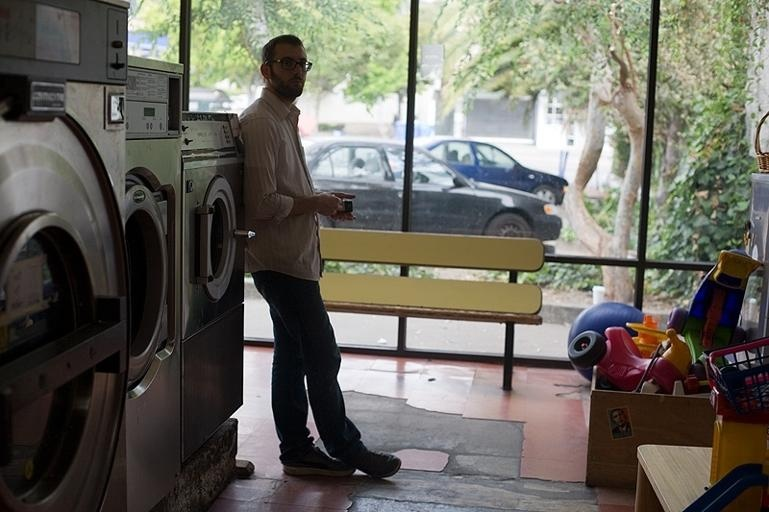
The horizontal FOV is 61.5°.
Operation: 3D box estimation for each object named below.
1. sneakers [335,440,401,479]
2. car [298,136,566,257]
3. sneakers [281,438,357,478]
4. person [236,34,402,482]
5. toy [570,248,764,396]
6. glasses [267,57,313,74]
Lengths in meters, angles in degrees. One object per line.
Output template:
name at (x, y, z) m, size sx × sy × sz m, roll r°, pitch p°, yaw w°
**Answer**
sneakers at (-0.068, 1.012, 3.273) m, size 0.384 × 0.174 × 0.143 m, roll 12°, pitch 16°, yaw -5°
car at (0.302, -0.465, 5.173) m, size 2.118 × 0.775 × 0.842 m, roll 0°, pitch 5°, yaw -2°
sneakers at (-0.339, 1.027, 3.334) m, size 0.416 × 0.193 × 0.155 m, roll 2°, pitch -1°, yaw -3°
person at (-0.377, 0.024, 3.163) m, size 0.674 × 2.147 × 0.379 m, roll 1°, pitch 10°, yaw -3°
toy at (1.446, 0.361, 3.284) m, size 0.978 × 0.487 × 0.617 m, roll -9°, pitch 19°, yaw -22°
glasses at (-0.461, -0.919, 3.114) m, size 0.214 × 0.062 × 0.107 m, roll -3°, pitch 12°, yaw -22°
